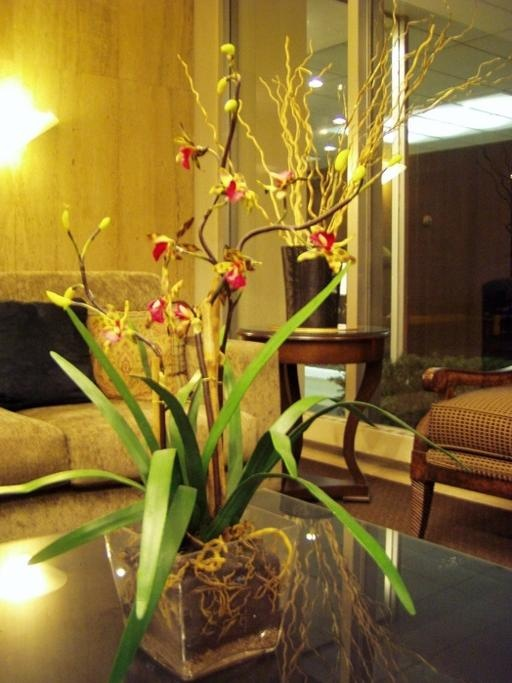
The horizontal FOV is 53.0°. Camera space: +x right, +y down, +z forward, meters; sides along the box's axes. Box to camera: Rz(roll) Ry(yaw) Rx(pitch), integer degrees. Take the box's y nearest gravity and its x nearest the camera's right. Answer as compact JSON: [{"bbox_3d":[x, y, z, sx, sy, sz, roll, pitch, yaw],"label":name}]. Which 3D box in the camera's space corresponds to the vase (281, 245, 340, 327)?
[{"bbox_3d":[0.239,-0.200,2.131,0.224,0.364,0.214,-3,-8,23],"label":"vase"}]

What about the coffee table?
[{"bbox_3d":[0.183,0.324,2.349,0.633,0.824,0.705,0,2,-11],"label":"coffee table"}]

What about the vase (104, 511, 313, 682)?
[{"bbox_3d":[-0.060,0.215,0.530,0.135,0.143,0.132,2,-1,-40],"label":"vase"}]

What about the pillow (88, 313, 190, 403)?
[{"bbox_3d":[-0.403,0.067,1.717,0.359,0.447,0.125,-4,0,-3],"label":"pillow"}]
